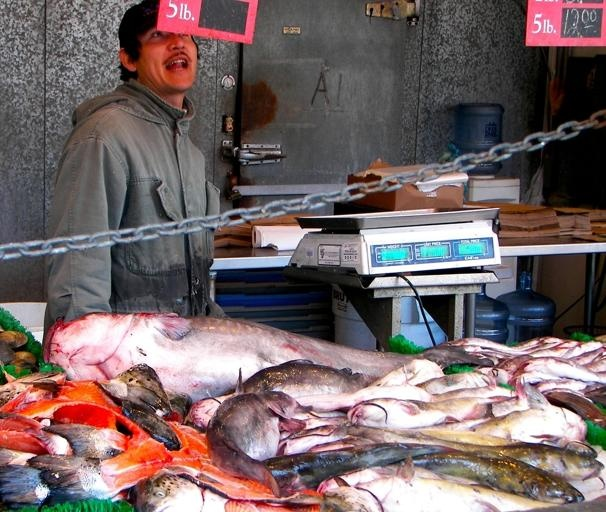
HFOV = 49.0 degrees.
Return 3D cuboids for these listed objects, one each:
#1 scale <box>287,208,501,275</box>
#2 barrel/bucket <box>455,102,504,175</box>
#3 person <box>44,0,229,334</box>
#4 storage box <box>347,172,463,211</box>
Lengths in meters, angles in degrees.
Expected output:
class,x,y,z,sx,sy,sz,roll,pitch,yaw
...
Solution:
class,x,y,z,sx,sy,sz,roll,pitch,yaw
scale,0.323,-0.050,2.337,0.732,0.243,0.287,1,11,4
barrel/bucket,1.298,-0.943,4.928,0.352,0.369,0.269,3,11,17
person,-0.547,-0.296,2.183,0.539,1.134,0.963,-1,11,-7
storage box,0.556,-0.274,3.212,0.378,0.122,0.385,-4,10,-22
